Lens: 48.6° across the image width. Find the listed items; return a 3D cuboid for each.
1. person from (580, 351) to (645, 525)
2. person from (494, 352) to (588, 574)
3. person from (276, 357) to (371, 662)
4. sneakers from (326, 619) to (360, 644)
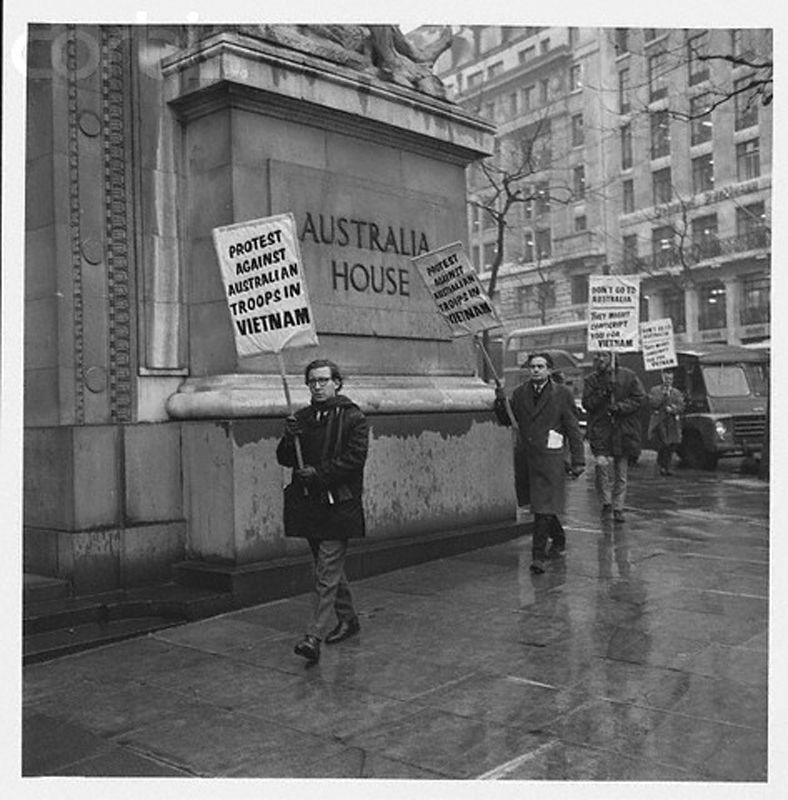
[{"bbox_3d":[2.880,0.464,11.491,0.685,2.190,0.862,-1,1,-23],"label":"person"},{"bbox_3d":[1.498,0.577,8.705,0.663,2.074,0.898,-1,1,-18],"label":"person"},{"bbox_3d":[-0.471,0.729,6.042,0.622,2.008,0.641,-1,1,-12],"label":"person"},{"bbox_3d":[-0.353,1.667,6.311,0.273,0.247,0.096,1,-1,-41],"label":"sneakers"}]
